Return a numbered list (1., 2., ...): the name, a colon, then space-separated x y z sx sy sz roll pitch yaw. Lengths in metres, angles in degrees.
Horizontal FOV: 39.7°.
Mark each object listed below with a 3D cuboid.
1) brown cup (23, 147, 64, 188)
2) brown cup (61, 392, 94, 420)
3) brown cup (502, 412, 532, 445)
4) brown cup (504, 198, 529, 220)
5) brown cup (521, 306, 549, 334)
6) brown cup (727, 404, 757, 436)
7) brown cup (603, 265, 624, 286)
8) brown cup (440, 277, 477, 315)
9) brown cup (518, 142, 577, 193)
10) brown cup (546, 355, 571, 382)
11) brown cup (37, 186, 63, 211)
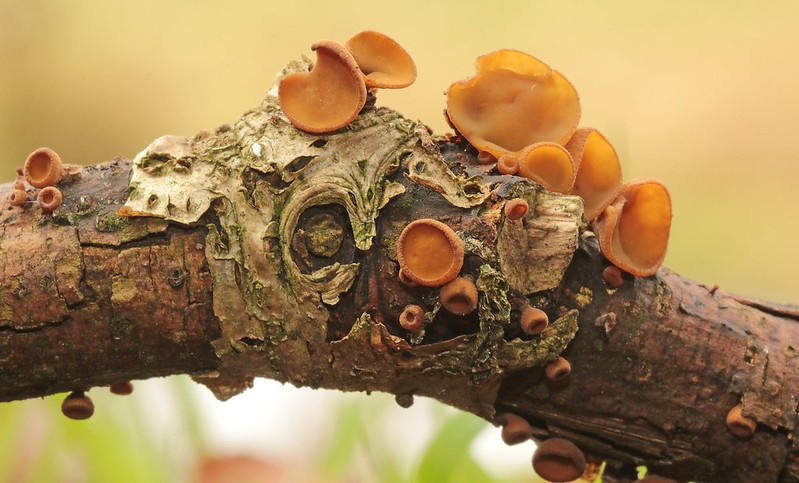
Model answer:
1. brown cup: -2.874 -0.580 8.951 0.296 0.330 0.177 -11 -12 14
2. brown cup: -2.692 1.437 9.267 0.226 0.200 0.235 1 -36 0
3. brown cup: 0.964 1.579 9.136 0.259 0.186 0.252 -2 -45 -2
4. brown cup: 0.917 -0.238 8.746 0.197 0.124 0.179 -9 -45 4
5. brown cup: 1.069 0.642 8.827 0.224 0.161 0.209 -2 -45 -2
6. brown cup: 2.742 1.485 8.986 0.234 0.190 0.242 15 -33 10
7. brown cup: 1.713 0.296 8.913 0.169 0.118 0.133 -2 -45 -3
8. brown cup: 0.460 0.454 8.679 0.263 0.113 0.269 3 -67 6
9. brown cup: 1.199 -0.582 8.893 0.466 0.329 0.298 17 -49 -20
10. brown cup: 1.270 1.053 8.939 0.220 0.134 0.200 -25 -49 19
11. brown cup: -2.804 -0.329 8.843 0.195 0.150 0.128 -4 -45 0
